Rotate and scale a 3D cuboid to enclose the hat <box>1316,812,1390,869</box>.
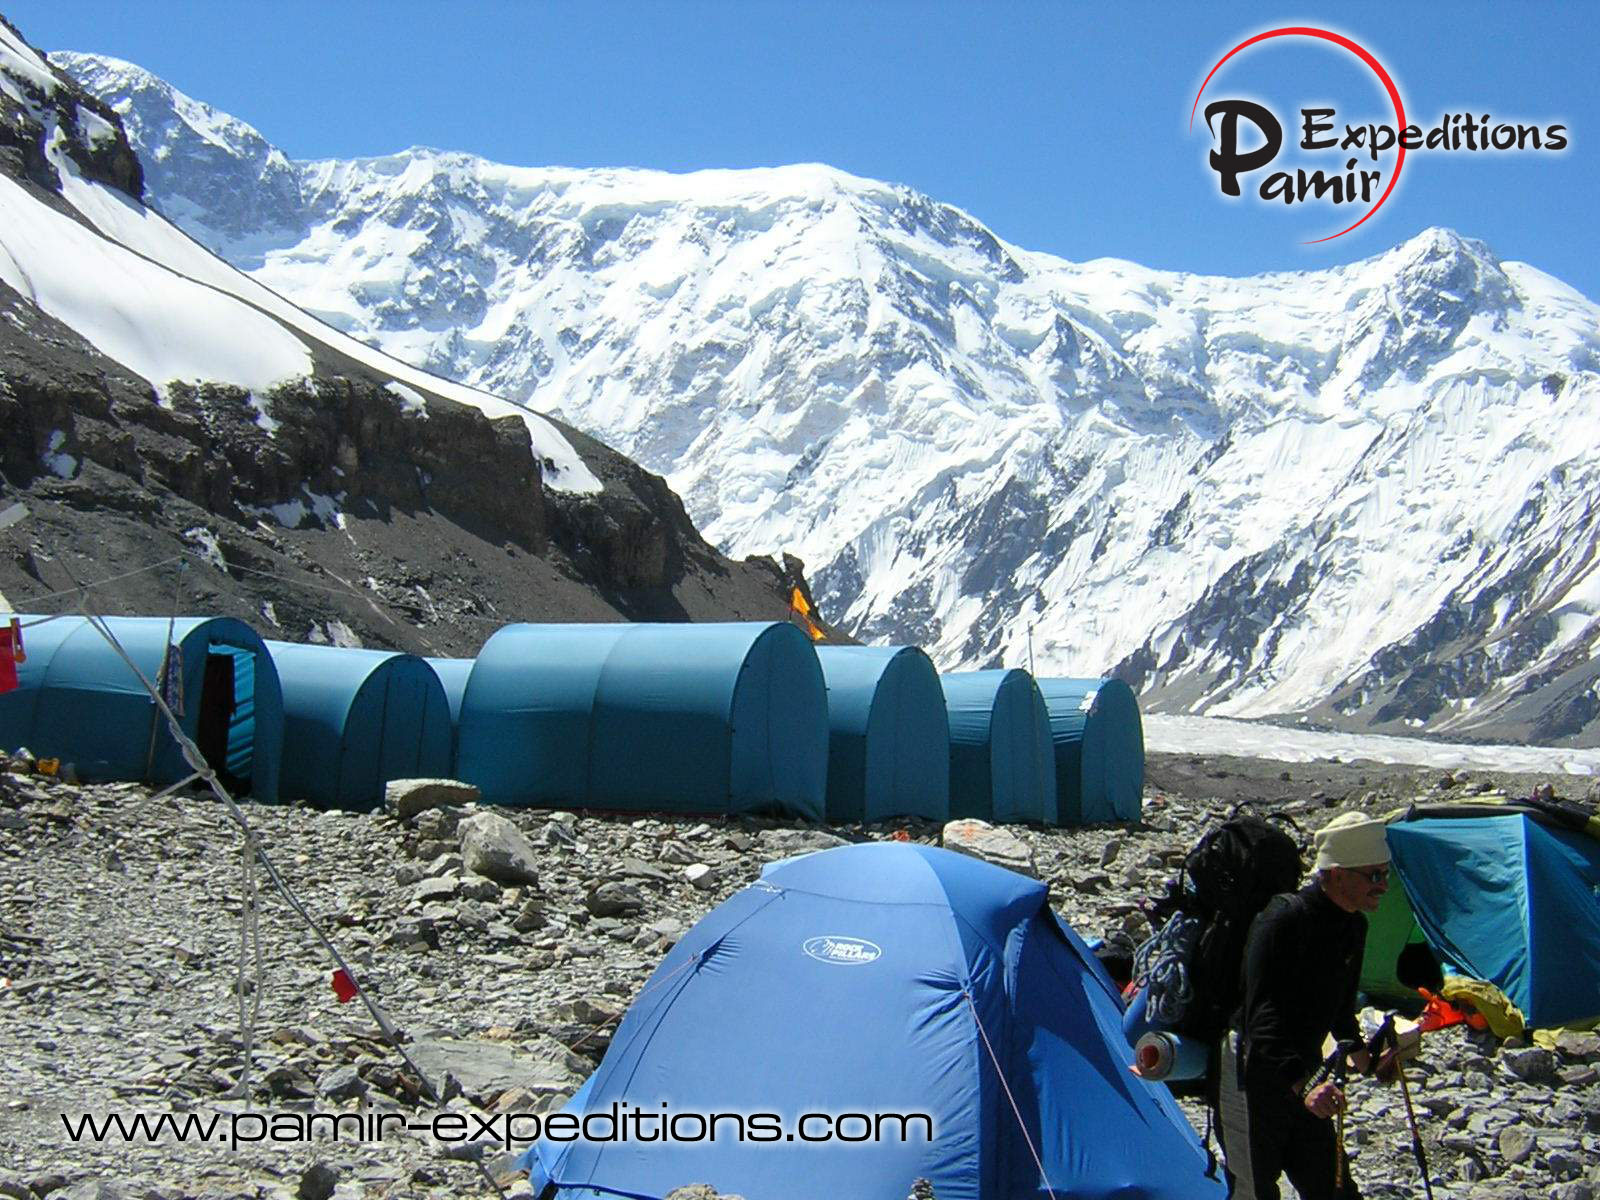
[{"bbox_3d":[4.021,1.762,11.776,0.462,0.340,0.426,-5,-1,-5],"label":"hat"}]
